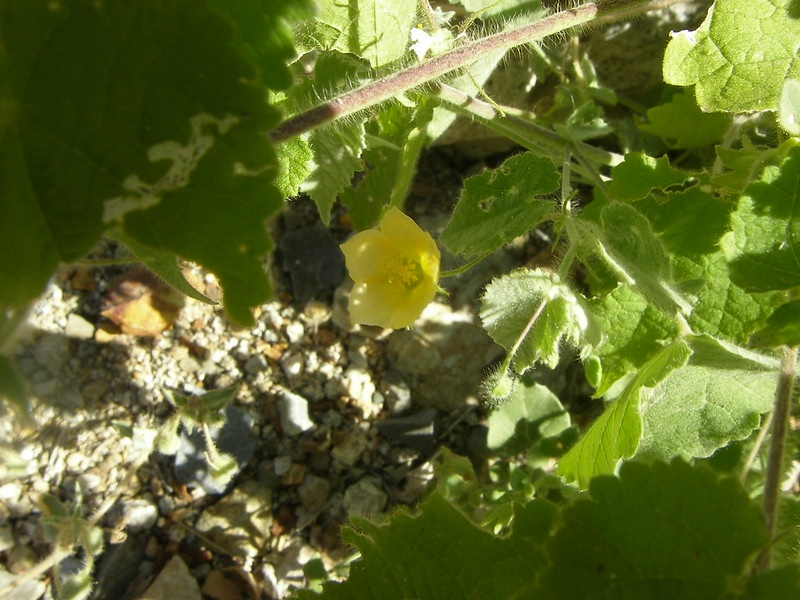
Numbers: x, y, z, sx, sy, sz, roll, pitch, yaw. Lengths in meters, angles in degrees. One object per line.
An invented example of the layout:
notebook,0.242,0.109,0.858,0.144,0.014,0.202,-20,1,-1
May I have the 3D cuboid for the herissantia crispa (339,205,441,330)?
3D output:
herissantia crispa,-0.005,-0.124,2.027,0.269,0.260,0.093,22,40,-51
